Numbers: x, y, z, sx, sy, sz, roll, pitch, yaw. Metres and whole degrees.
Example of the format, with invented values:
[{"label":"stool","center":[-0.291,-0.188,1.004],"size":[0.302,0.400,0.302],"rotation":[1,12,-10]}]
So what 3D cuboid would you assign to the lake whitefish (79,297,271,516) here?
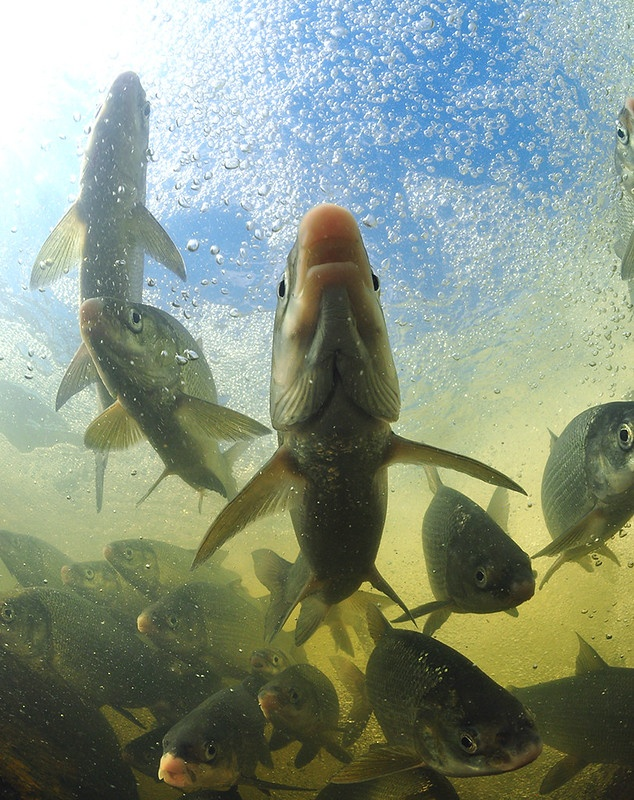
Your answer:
[{"label":"lake whitefish","center":[-0.916,-0.052,4.972],"size":[0.921,1.484,0.881],"rotation":[1,-5,-34]}]

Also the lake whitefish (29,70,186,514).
[{"label":"lake whitefish","center":[-1.436,-0.893,5.731],"size":[0.809,2.748,0.891],"rotation":[-2,-2,-28]}]

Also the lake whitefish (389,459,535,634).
[{"label":"lake whitefish","center":[0.894,0.886,4.883],"size":[0.884,0.882,0.482],"rotation":[3,13,-16]}]
